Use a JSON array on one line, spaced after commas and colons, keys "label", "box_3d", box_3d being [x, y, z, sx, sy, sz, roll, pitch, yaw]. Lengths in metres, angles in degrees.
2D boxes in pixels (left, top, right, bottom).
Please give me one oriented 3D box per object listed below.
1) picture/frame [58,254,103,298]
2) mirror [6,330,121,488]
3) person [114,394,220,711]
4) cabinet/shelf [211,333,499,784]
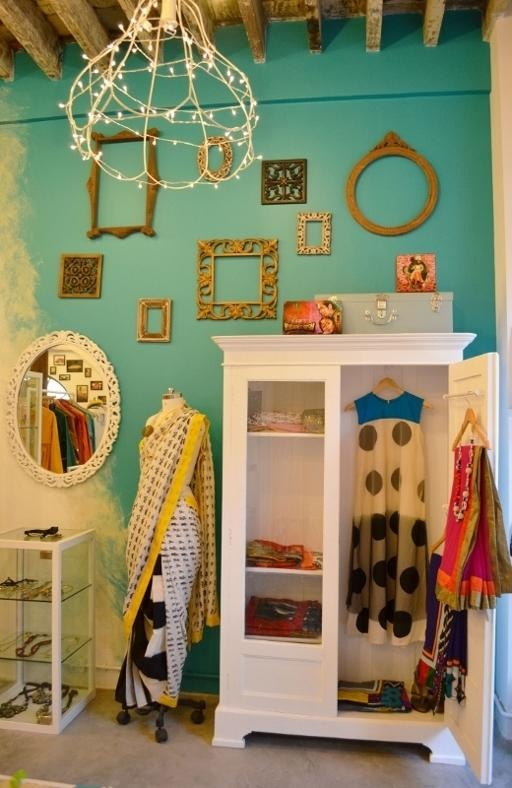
[{"label": "picture/frame", "box_3d": [-0.903, -0.606, 3.447, 0.215, 0.243, 0.017, 0, -4, 9]}, {"label": "mirror", "box_3d": [-0.968, 0.093, 3.419, 0.737, 0.972, 0.019, 1, 0, 16]}, {"label": "person", "box_3d": [-0.374, 0.709, 2.959, 0.349, 1.411, 0.474, 1, 2, 44]}, {"label": "cabinet/shelf", "box_3d": [0.380, 0.617, 2.773, 1.152, 1.720, 0.804, 0, 2, 22]}]
